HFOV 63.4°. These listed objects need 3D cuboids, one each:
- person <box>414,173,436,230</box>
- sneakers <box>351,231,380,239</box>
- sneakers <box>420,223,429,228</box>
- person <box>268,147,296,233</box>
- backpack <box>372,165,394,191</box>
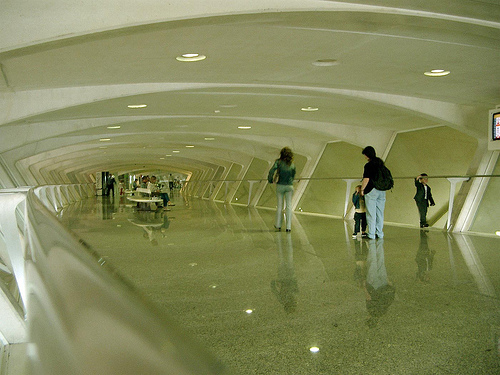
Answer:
[{"bbox_3d":[4.371,0.322,10.183,0.523,1.338,0.729,7,17,16],"label":"person"},{"bbox_3d":[2.413,1.033,8.559,0.571,0.228,0.179,-5,-3,11],"label":"sneakers"},{"bbox_3d":[4.293,0.953,10.047,0.124,0.046,0.126,-6,21,19],"label":"sneakers"},{"bbox_3d":[0.711,0.112,9.417,0.594,2.083,0.737,4,16,6],"label":"person"},{"bbox_3d":[2.546,-0.175,7.719,0.448,0.483,0.165,-8,19,-33],"label":"backpack"}]
